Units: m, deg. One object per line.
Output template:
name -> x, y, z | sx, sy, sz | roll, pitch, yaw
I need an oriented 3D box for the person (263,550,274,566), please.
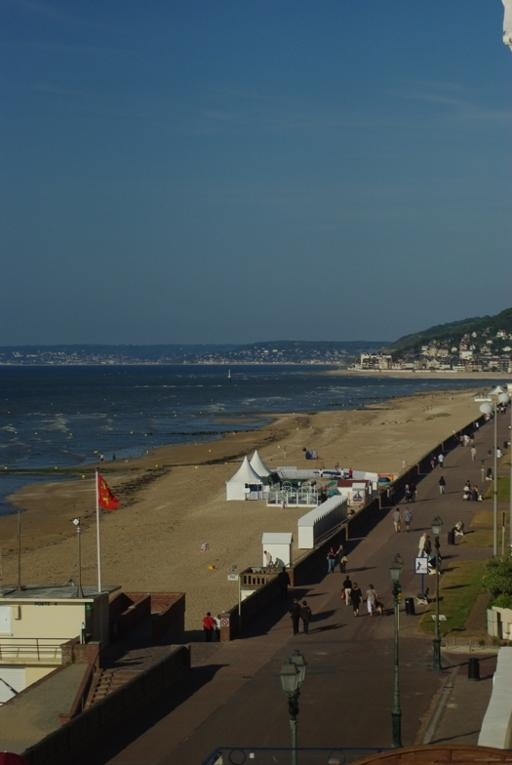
person -> 0.317, 4.919, 35.853 | 0.270, 0.390, 0.776 | -3, -2, 0

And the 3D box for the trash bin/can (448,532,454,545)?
trash bin/can -> 5.736, 4.601, 38.009 | 0.201, 0.388, 0.698 | -3, -2, 8
